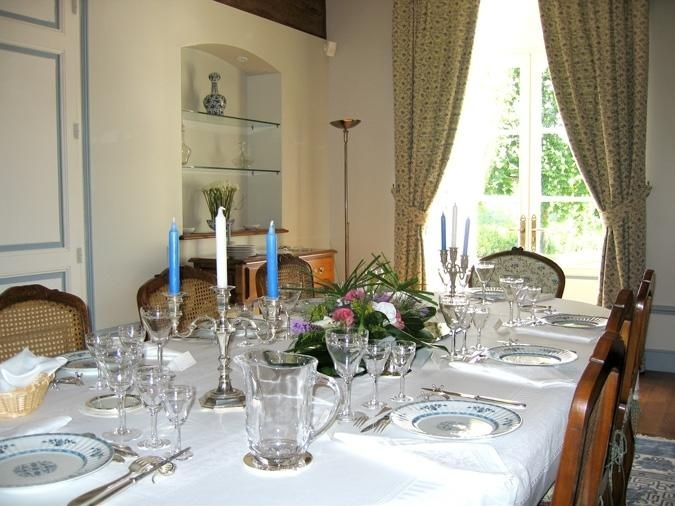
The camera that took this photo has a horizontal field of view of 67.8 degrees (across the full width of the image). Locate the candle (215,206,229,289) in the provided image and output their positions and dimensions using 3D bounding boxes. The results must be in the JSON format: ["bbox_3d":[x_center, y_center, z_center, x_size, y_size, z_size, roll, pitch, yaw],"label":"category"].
[{"bbox_3d":[-0.311,-0.026,1.353,0.031,0.245,0.033,-3,-40,-11],"label":"candle"}]

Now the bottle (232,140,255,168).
[{"bbox_3d":[-0.943,-0.935,4.855,0.230,0.330,0.222,0,0,0],"label":"bottle"}]

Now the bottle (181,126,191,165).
[{"bbox_3d":[-1.271,-0.908,4.242,0.051,0.357,0.160,-2,3,2],"label":"bottle"}]

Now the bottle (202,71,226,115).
[{"bbox_3d":[-1.088,-1.405,4.422,0.188,0.432,0.361,-3,3,-14],"label":"bottle"}]

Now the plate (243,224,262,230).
[{"bbox_3d":[-0.787,-0.242,4.729,0.147,0.052,0.319,-2,3,-6],"label":"plate"}]

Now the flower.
[{"bbox_3d":[0.141,0.209,1.833,0.545,0.279,0.483,10,0,-28],"label":"flower"}]

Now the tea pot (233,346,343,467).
[{"bbox_3d":[-0.087,0.303,1.083,0.279,0.302,0.208,1,4,4],"label":"tea pot"}]

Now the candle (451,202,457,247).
[{"bbox_3d":[0.547,-0.123,2.345,0.023,0.198,0.157,-1,3,10],"label":"candle"}]

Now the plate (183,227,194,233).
[{"bbox_3d":[-1.205,-0.181,4.100,0.072,0.039,0.204,-2,3,-9],"label":"plate"}]
